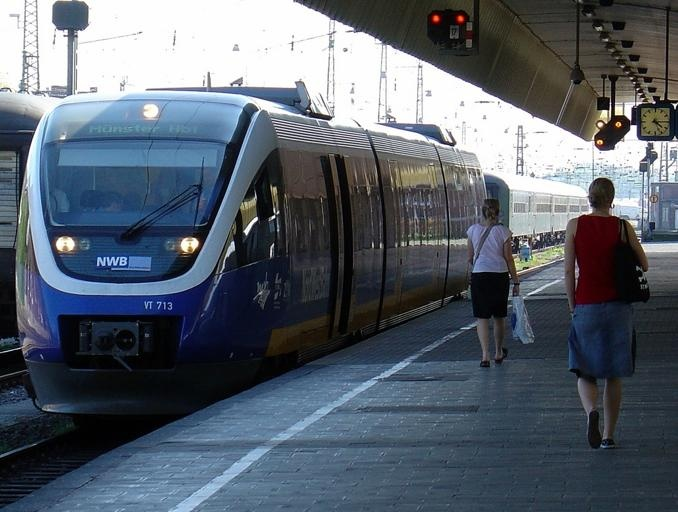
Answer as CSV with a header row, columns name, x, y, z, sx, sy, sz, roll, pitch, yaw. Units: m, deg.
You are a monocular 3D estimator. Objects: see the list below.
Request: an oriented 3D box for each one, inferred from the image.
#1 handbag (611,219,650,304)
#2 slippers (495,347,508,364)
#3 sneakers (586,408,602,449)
name,x,y,z,sx,sy,sz,roll,pitch,yaw
handbag,2.210,0.041,4.794,0.324,0.642,0.162,-1,-1,-41
slippers,2.317,1.352,9.006,0.114,0.148,0.350,3,22,21
sneakers,1.890,1.274,4.729,0.113,0.311,0.121,-1,2,6
